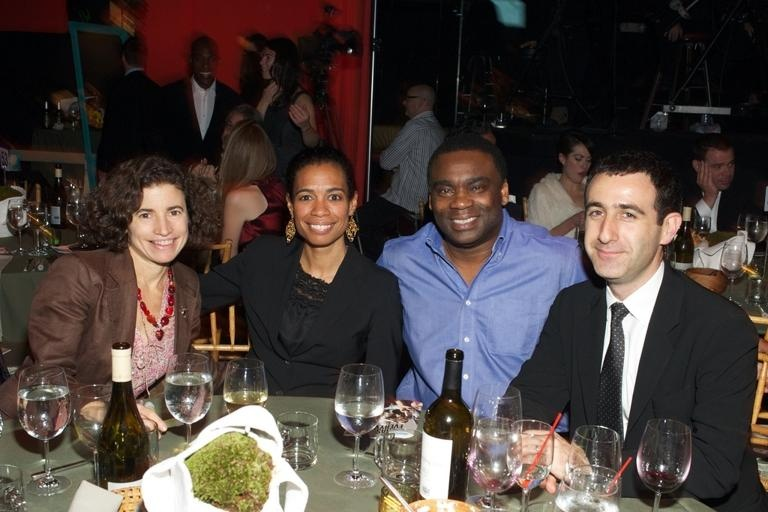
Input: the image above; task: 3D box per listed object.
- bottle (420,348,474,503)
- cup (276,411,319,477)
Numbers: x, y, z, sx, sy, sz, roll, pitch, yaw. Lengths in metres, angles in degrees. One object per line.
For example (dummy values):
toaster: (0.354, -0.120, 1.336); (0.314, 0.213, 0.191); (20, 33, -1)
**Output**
bottle: (0.178, 0.493, 1.603); (0.142, 0.469, 0.262); (6, 9, 9)
cup: (-0.259, 0.596, 1.846); (0.141, 0.142, 0.148); (0, 4, 0)
